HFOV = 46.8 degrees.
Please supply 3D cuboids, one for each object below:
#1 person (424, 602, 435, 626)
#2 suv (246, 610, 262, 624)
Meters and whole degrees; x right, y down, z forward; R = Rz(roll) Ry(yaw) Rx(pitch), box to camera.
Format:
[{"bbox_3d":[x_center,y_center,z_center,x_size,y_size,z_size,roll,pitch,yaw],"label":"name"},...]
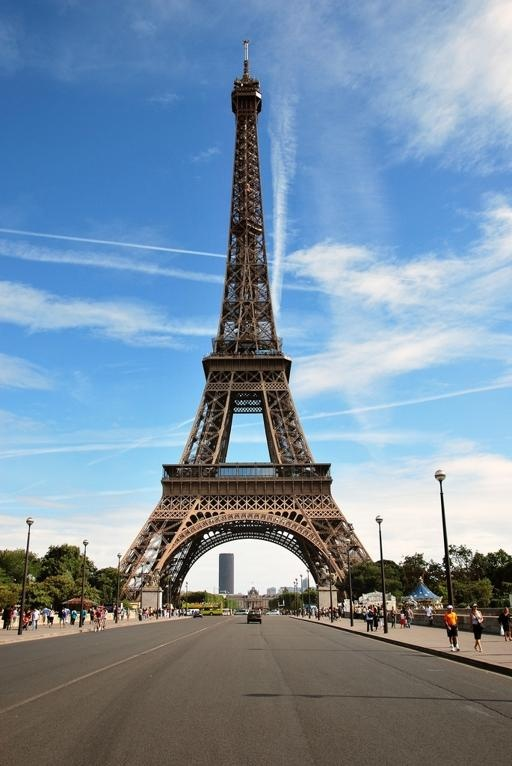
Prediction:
[{"bbox_3d":[13.135,17.821,44.748,0.409,1.157,1.738,-4,-17,11],"label":"person"},{"bbox_3d":[-0.160,24.279,60.682,0.972,0.799,2.303,1,-12,-3],"label":"suv"}]
